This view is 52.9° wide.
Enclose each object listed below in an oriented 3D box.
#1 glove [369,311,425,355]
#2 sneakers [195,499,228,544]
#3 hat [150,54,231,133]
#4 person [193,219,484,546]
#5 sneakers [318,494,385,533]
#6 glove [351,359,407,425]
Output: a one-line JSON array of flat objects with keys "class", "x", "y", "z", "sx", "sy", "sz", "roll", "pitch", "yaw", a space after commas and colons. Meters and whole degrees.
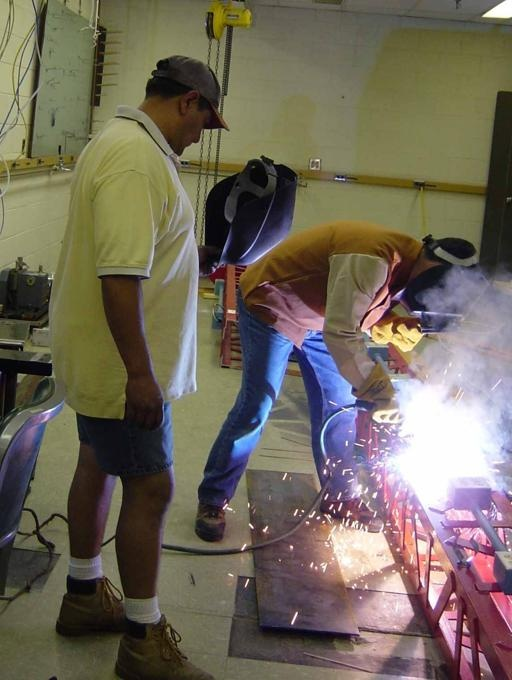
[{"class": "glove", "x": 0.644, "y": -0.064, "z": 2.335, "sx": 0.190, "sy": 0.189, "sz": 0.076, "roll": 38, "pitch": 45, "yaw": -15}, {"class": "sneakers", "x": -0.186, "y": 0.749, "z": 2.115, "sx": 0.069, "sy": 0.084, "sz": 0.197, "roll": 10, "pitch": 0, "yaw": -5}, {"class": "hat", "x": -0.141, "y": -0.622, "z": 1.295, "sx": 0.206, "sy": 0.109, "sz": 0.146, "roll": 31, "pitch": -1, "yaw": -13}, {"class": "person", "x": 0.295, "y": 0.192, "z": 2.123, "sx": 0.930, "sy": 1.335, "sz": 0.602, "roll": 10, "pitch": 12, "yaw": 12}, {"class": "sneakers", "x": 0.440, "y": 0.783, "z": 2.337, "sx": 0.231, "sy": 0.103, "sz": 0.119, "roll": 13, "pitch": 50, "yaw": 19}, {"class": "glove", "x": 0.453, "y": 0.185, "z": 1.886, "sx": 0.087, "sy": 0.223, "sz": 0.162, "roll": -8, "pitch": 23, "yaw": -21}]
